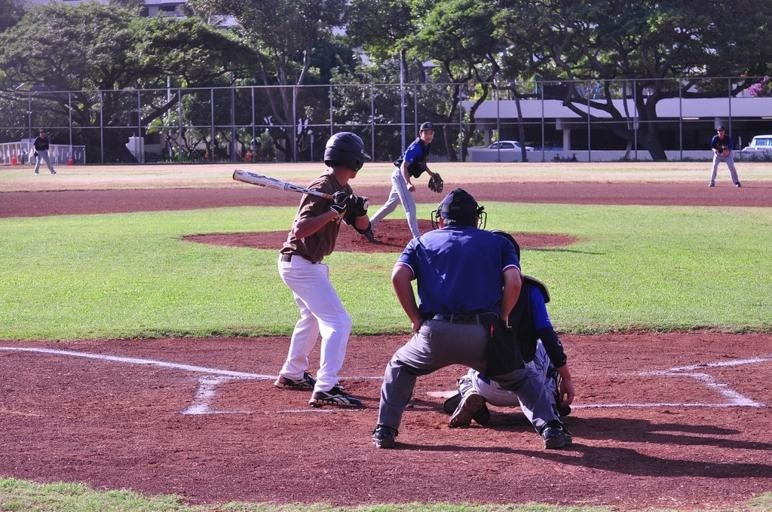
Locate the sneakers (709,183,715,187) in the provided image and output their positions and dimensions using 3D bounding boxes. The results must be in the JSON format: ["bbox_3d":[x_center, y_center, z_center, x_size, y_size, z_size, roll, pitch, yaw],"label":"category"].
[{"bbox_3d":[10.820,-2.380,38.643,0.137,0.130,0.213,0,4,-14],"label":"sneakers"}]

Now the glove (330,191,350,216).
[{"bbox_3d":[-0.735,-0.860,18.630,0.366,0.313,0.128,11,3,23],"label":"glove"}]

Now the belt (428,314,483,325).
[{"bbox_3d":[1.068,0.964,17.944,0.773,0.141,0.089,0,5,11],"label":"belt"}]

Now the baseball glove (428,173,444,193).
[{"bbox_3d":[1.110,-1.734,27.344,0.407,0.457,0.182,-7,6,-33],"label":"baseball glove"}]

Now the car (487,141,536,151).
[{"bbox_3d":[7.308,-6.391,69.197,2.283,0.634,0.986,4,9,15],"label":"car"}]
